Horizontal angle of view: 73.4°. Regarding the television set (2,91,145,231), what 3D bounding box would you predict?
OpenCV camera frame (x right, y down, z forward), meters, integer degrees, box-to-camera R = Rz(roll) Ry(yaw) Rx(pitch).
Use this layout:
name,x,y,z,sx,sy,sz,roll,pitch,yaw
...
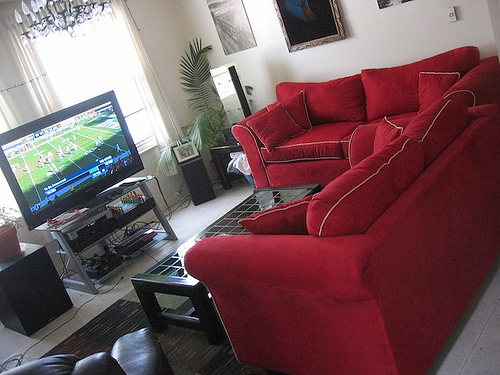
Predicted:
name,x,y,z,sx,sy,sz,roll,pitch,yaw
television set,-1.988,-0.266,3.719,1.417,1.053,0.156,-28,14,-29

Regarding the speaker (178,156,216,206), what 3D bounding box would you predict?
name,x,y,z,sx,sy,sz,roll,pitch,yaw
speaker,-0.863,-0.116,4.821,0.370,0.758,0.395,-7,16,47

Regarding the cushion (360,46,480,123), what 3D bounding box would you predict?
name,x,y,z,sx,sy,sz,roll,pitch,yaw
cushion,1.641,-0.946,3.389,0.359,0.628,1.241,-20,16,-24

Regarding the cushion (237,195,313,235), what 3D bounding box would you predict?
name,x,y,z,sx,sy,sz,roll,pitch,yaw
cushion,0.139,0.172,1.689,0.237,0.074,0.243,-18,-11,-6

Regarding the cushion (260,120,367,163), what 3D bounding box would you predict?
name,x,y,z,sx,sy,sz,roll,pitch,yaw
cushion,0.930,-0.427,4.116,1.441,0.310,1.522,3,1,42
